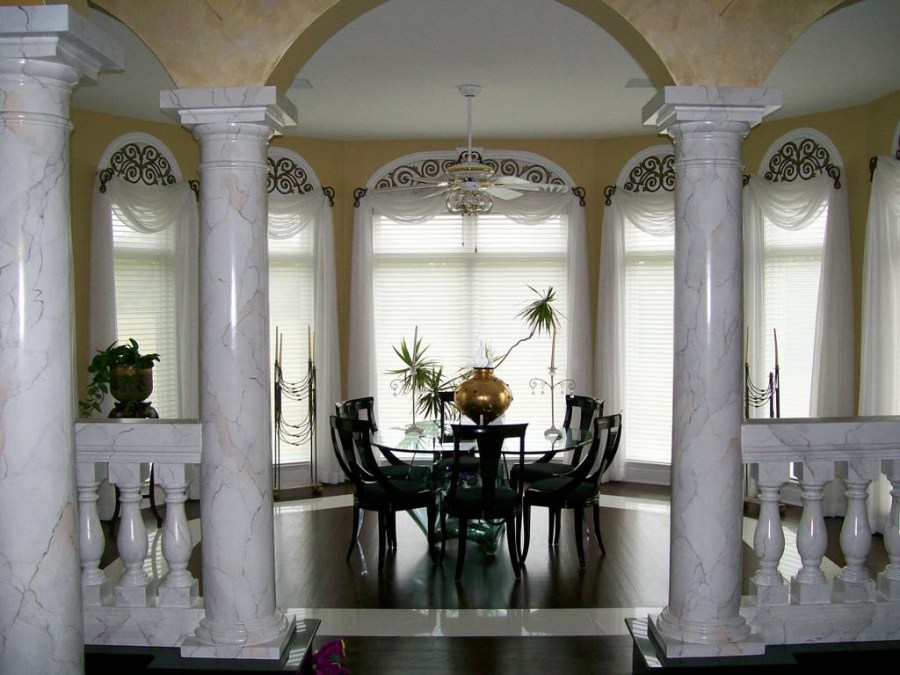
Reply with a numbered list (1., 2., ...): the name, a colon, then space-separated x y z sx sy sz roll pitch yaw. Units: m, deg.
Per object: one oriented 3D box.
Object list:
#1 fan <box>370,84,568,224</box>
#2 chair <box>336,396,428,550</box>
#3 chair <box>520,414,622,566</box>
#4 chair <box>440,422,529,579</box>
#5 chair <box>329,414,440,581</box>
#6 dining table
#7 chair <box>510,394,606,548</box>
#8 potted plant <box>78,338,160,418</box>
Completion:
1. fan: 0.071 -1.723 7.433 1.217 0.865 1.306 1 -1 17
2. chair: -0.497 1.044 5.773 0.552 1.031 0.604 1 5 43
3. chair: 0.878 1.069 5.779 0.604 1.075 0.543 2 2 24
4. chair: 0.223 1.058 5.617 0.599 1.072 0.846 0 5 -1
5. chair: -0.489 1.071 5.732 0.627 1.083 0.539 -4 3 -44
6. dining table: 0.202 0.943 5.794 1.200 0.901 1.107 0 6 4
7. chair: 1.067 1.233 6.920 0.775 1.336 0.737 -15 -7 28
8. potted plant: -2.310 0.320 5.743 0.450 0.652 0.505 6 16 18
